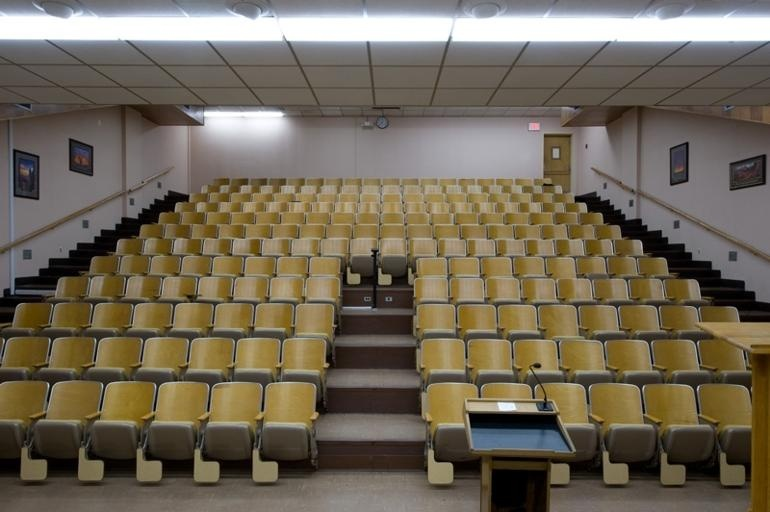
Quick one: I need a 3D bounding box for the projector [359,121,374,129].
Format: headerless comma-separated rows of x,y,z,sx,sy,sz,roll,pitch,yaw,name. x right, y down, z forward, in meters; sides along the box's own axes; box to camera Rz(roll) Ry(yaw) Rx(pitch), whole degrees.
-0.375,-2.882,12.225,0.210,0.177,0.121,-1,2,-1,projector

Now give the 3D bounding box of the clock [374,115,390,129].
-0.055,-2.961,12.210,0.333,0.254,0.196,1,-7,3,clock
